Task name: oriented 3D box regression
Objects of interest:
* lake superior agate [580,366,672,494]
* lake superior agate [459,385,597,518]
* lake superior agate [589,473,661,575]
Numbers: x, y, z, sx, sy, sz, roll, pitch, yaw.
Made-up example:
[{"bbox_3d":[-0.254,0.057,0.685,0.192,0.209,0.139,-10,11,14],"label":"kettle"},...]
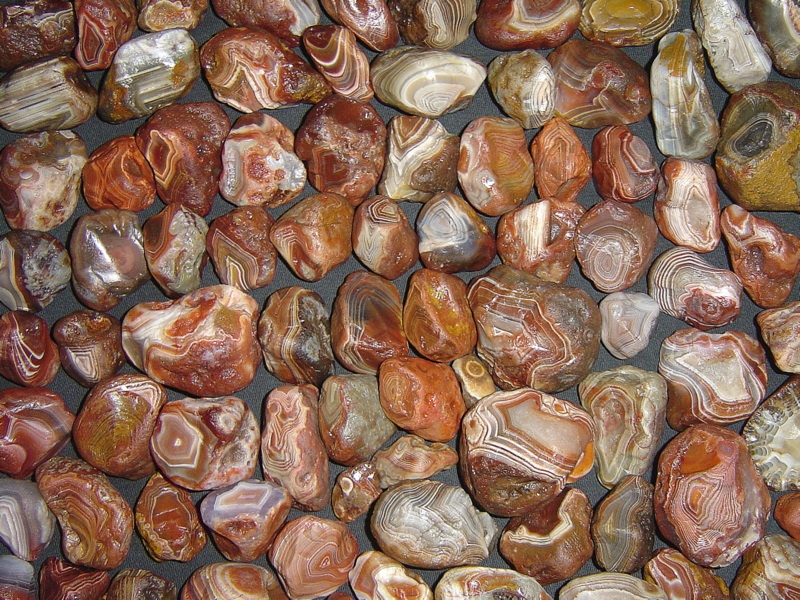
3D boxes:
[{"bbox_3d":[0.515,0.278,2.037,0.189,0.350,0.093,8,23,25],"label":"lake superior agate"},{"bbox_3d":[0.289,0.339,1.962,0.298,0.269,0.070,-6,-8,-1],"label":"lake superior agate"},{"bbox_3d":[0.522,0.532,2.005,0.142,0.087,0.251,5,46,33],"label":"lake superior agate"}]
